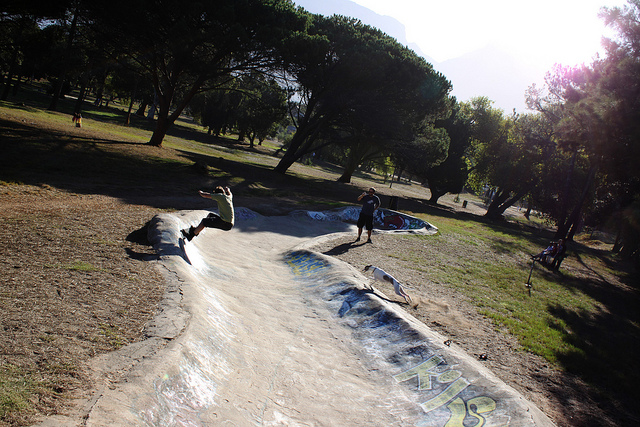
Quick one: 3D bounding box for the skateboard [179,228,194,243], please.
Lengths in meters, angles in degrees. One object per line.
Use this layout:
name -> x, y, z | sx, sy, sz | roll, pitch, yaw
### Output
skateboard -> -5.267, 0.867, 17.881 | 0.254, 0.372, 0.943 | 45, 0, 8
